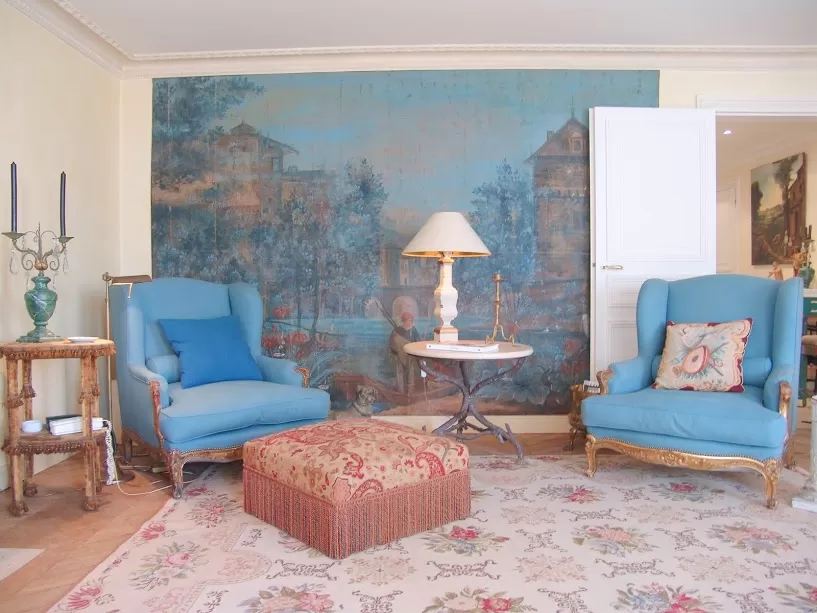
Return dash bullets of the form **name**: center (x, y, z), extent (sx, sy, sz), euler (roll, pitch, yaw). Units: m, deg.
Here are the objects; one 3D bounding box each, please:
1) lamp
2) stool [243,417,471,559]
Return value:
- **lamp**: center (0.316, -0.206, 4.800), extent (0.554, 0.983, 0.697), euler (3, 12, 18)
- **stool**: center (-0.210, 0.857, 3.515), extent (0.782, 0.331, 0.762), euler (-2, 4, -39)
